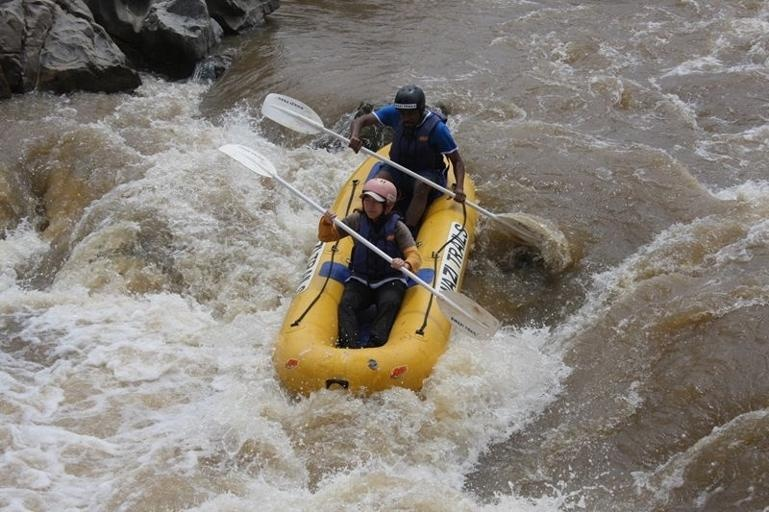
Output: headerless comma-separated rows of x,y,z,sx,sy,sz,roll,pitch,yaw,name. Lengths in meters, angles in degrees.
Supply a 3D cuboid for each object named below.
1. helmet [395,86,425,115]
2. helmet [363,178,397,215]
0.350,-2.121,14.505,0.307,0.363,0.401,4,66,6,helmet
-0.098,-0.879,13.849,0.432,0.580,0.283,11,97,7,helmet
